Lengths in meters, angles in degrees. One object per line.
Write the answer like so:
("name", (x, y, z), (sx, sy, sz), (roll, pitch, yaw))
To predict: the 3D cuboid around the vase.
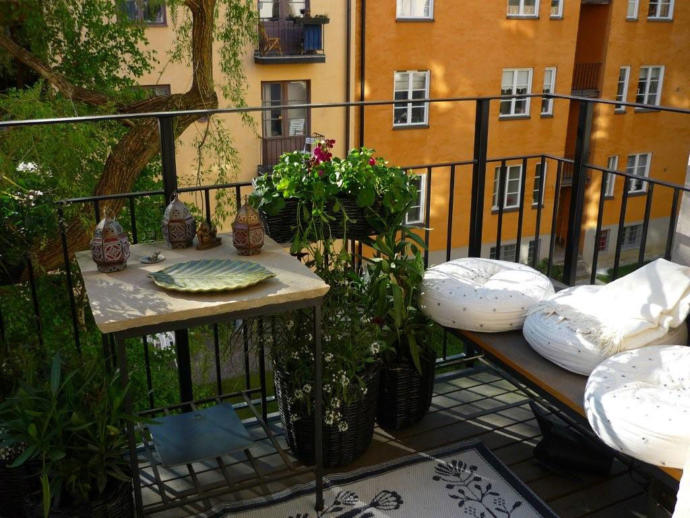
("vase", (0.068, 0.674, 2.860), (0.670, 0.319, 0.443), (-8, 13, -31))
